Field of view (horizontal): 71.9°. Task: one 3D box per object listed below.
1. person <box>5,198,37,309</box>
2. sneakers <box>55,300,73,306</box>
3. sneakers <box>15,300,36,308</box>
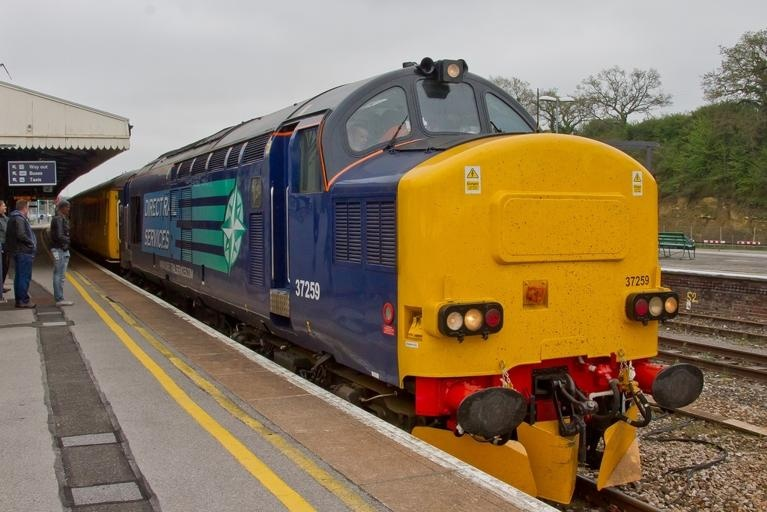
[{"bbox_3d":[-7.433,-0.026,10.806,0.467,2.220,0.781,-4,8,-36],"label":"person"},{"bbox_3d":[-6.943,1.001,11.420,0.264,0.115,0.110,-2,7,-22],"label":"sneakers"},{"bbox_3d":[-7.537,0.987,11.099,0.490,0.211,0.169,-1,2,-4],"label":"sneakers"}]
